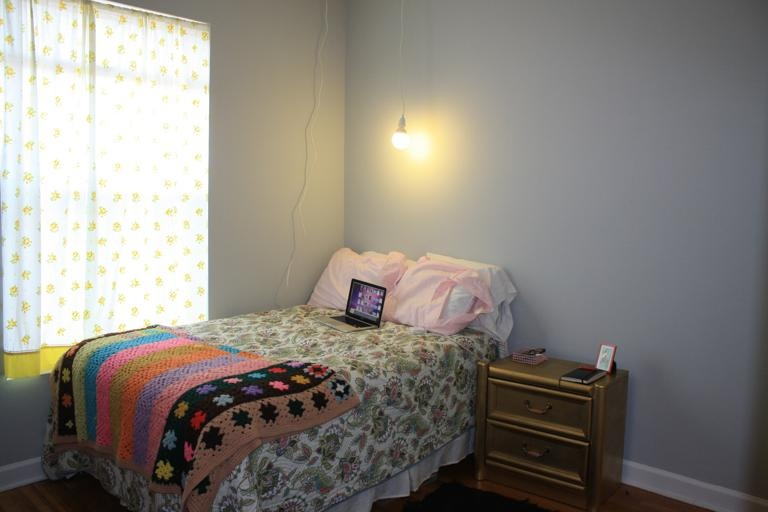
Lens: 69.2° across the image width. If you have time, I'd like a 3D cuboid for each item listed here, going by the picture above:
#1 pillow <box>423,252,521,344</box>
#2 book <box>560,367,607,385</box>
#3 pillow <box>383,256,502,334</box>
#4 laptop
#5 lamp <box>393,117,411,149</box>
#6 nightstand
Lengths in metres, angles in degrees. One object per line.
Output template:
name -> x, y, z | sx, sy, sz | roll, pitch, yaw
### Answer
pillow -> 0.654, 0.319, 3.769 | 0.176, 0.593, 0.446 | 20, -10, -41
book -> 1.181, 0.700, 3.281 | 0.286, 0.048, 0.154 | -4, 13, -39
pillow -> 0.417, 0.306, 3.944 | 0.789, 0.243, 0.891 | -26, 14, -30
laptop -> -0.223, 0.334, 3.774 | 0.354, 0.268, 0.424 | -12, 14, -42
lamp -> 0.137, -0.945, 4.216 | 0.132, 0.268, 0.235 | 4, 10, 1
nightstand -> 0.988, 0.920, 3.658 | 1.058, 1.035, 0.766 | 3, 3, 36
